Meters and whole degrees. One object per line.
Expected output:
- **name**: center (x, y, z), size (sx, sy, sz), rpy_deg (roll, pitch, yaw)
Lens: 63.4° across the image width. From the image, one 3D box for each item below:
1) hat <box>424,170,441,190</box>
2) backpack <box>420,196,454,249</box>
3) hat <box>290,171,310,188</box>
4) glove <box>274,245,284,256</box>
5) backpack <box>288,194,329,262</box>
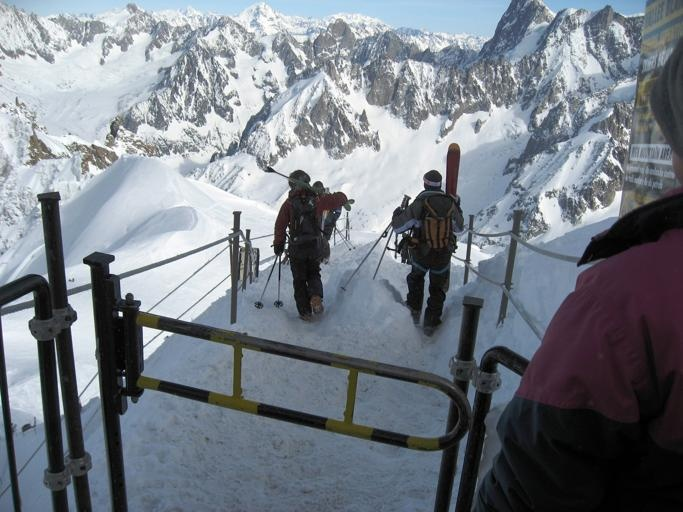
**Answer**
- **hat**: center (1.271, -1.066, 7.722), size (0.229, 0.279, 0.310), rpy_deg (-2, 30, -3)
- **backpack**: center (1.287, -0.440, 7.389), size (0.425, 0.724, 0.106), rpy_deg (0, 12, -9)
- **hat**: center (-0.543, -1.002, 7.119), size (0.257, 0.235, 0.411), rpy_deg (1, 14, -6)
- **glove**: center (-0.798, -0.066, 7.137), size (0.091, 0.143, 0.130), rpy_deg (2, 5, 9)
- **backpack**: center (-0.436, -0.371, 7.130), size (0.505, 0.887, 0.306), rpy_deg (1, 12, -7)
